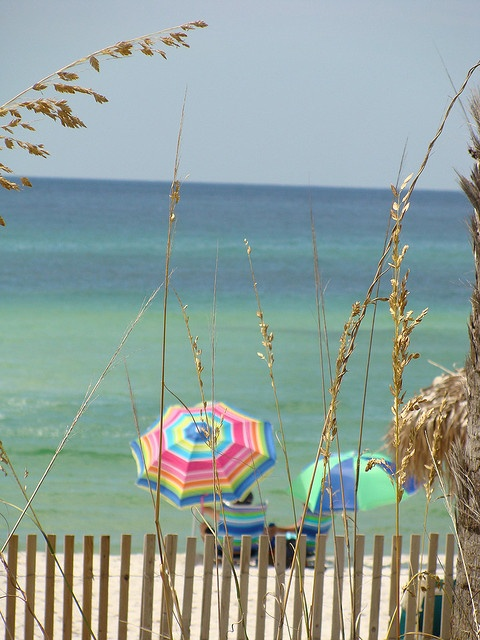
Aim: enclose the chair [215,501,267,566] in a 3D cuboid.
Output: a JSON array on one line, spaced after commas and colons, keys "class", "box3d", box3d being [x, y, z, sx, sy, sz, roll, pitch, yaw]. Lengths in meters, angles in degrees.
[{"class": "chair", "box3d": [0.052, 12.592, 99.785, 2.744, 3.256, 4.414, -1, -15, 0]}]
